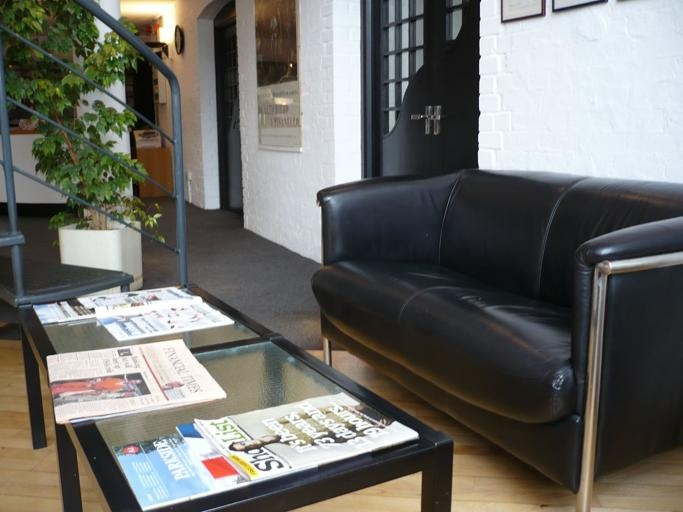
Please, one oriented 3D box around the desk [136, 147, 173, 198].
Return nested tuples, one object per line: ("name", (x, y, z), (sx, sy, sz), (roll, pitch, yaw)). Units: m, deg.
("desk", (-3.149, -1.550, 9.424), (0.589, 1.035, 0.540), (-7, 51, -21))
